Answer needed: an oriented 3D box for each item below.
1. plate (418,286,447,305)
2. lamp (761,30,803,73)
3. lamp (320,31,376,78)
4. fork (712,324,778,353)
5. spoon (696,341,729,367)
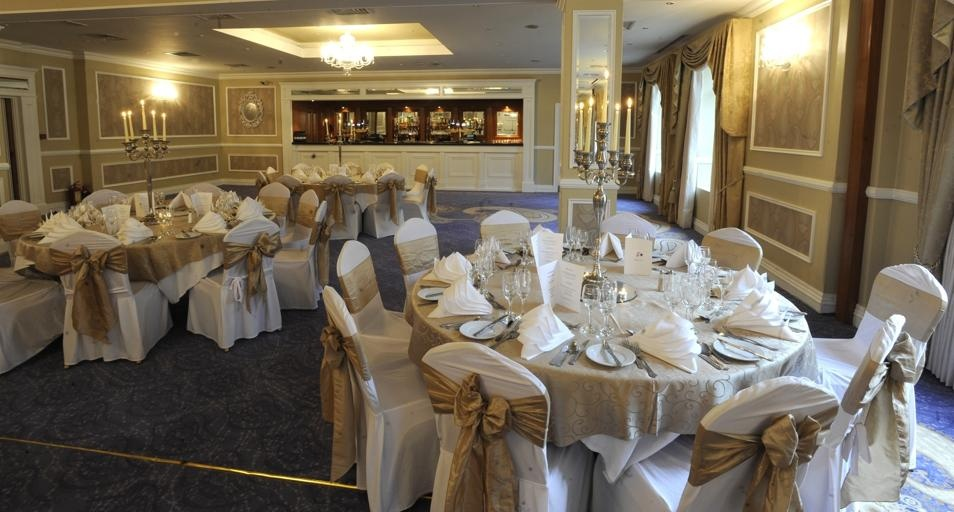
[{"bbox_3d":[-0.436,0.351,5.287,0.228,0.083,0.206,-1,13,3],"label":"plate"},{"bbox_3d":[4.321,-2.893,8.166,0.126,0.522,0.526,1,15,-21],"label":"lamp"},{"bbox_3d":[-2.653,-4.131,11.709,1.011,0.867,1.022,8,23,17],"label":"lamp"},{"bbox_3d":[2.247,0.689,4.788,0.424,0.066,0.059,25,41,38],"label":"fork"},{"bbox_3d":[1.891,0.793,4.658,0.107,0.037,0.208,-22,40,-12],"label":"spoon"}]
